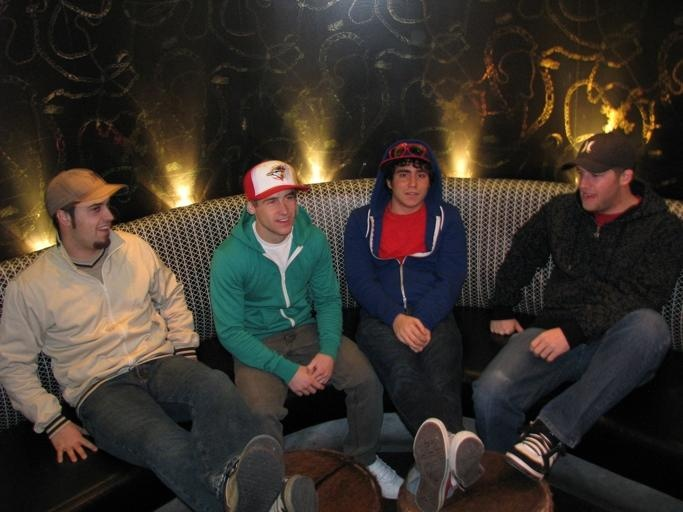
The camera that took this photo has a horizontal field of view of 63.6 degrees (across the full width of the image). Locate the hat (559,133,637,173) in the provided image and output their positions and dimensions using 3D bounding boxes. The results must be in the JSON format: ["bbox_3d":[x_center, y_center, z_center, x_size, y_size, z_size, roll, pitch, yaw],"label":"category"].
[{"bbox_3d":[1.310,-0.488,2.772,0.333,0.188,0.232,1,11,-7],"label":"hat"}]

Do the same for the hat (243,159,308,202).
[{"bbox_3d":[-0.335,-0.357,2.712,0.194,0.148,0.247,-15,3,-39],"label":"hat"}]

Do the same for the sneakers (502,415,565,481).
[{"bbox_3d":[0.815,0.807,2.324,0.134,0.180,0.406,43,1,25],"label":"sneakers"}]

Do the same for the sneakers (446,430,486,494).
[{"bbox_3d":[0.487,0.775,2.153,0.122,0.231,0.096,-6,12,-19],"label":"sneakers"}]

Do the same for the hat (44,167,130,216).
[{"bbox_3d":[-1.206,-0.309,2.615,0.295,0.156,0.217,-21,8,9],"label":"hat"}]
